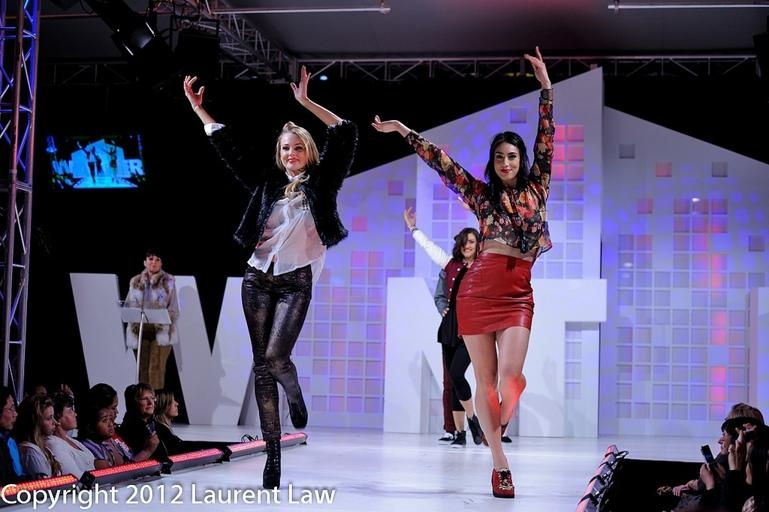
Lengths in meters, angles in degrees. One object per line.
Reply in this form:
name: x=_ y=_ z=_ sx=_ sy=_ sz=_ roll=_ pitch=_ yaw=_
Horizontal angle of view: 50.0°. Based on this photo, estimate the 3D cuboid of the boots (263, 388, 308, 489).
boots: x=-0.749 y=1.367 z=6.171 sx=0.312 sy=0.683 sz=0.748 roll=2 pitch=-3 yaw=-8

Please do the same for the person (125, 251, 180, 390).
person: x=-2.830 y=0.783 z=10.029 sx=0.632 sy=1.663 sz=1.013 roll=2 pitch=-3 yaw=-18

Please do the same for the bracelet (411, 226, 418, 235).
bracelet: x=0.324 y=-0.290 z=9.363 sx=0.084 sy=0.080 sz=0.067 roll=12 pitch=0 yaw=18

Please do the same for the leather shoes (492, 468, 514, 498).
leather shoes: x=0.861 y=1.645 z=5.936 sx=0.159 sy=0.194 sz=0.123 roll=1 pitch=-3 yaw=8

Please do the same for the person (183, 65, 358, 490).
person: x=-0.773 y=0.130 z=6.179 sx=1.059 sy=3.140 sz=0.385 roll=2 pitch=-3 yaw=-9
